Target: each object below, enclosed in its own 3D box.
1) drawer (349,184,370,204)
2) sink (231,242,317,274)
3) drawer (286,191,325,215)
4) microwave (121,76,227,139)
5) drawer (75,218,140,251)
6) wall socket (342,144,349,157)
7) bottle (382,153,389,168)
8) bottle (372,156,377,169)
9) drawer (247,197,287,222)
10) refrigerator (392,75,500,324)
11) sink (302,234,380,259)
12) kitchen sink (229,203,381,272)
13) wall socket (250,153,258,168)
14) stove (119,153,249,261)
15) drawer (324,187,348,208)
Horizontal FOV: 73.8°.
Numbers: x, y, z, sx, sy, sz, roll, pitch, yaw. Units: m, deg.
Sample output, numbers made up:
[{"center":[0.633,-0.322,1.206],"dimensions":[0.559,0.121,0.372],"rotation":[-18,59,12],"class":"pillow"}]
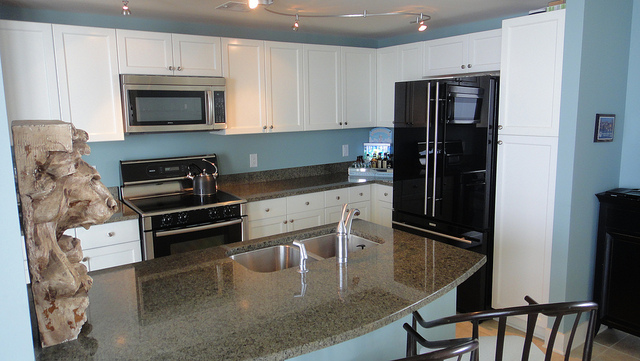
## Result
[{"center":[0.498,0.162,5.342],"dimensions":[0.379,0.201,0.208],"rotation":[-5,9,-37],"class":"drawer"},{"center":[-0.366,0.621,3.343],"dimensions":[0.387,0.208,0.373],"rotation":[-6,11,-38],"class":"sink"},{"center":[-0.164,0.264,4.995],"dimensions":[0.311,0.124,0.315],"rotation":[-6,9,-35],"class":"drawer"},{"center":[-1.716,-0.801,4.699],"dimensions":[1.149,0.574,0.667],"rotation":[-8,10,-40],"class":"microwave"},{"center":[-2.002,0.513,4.073],"dimensions":[0.550,0.235,0.048],"rotation":[-8,15,-27],"class":"drawer"},{"center":[0.366,-0.421,5.954],"dimensions":[0.107,0.162,0.012],"rotation":[-11,16,-31],"class":"wall socket"},{"center":[0.893,-0.268,5.760],"dimensions":[0.083,0.166,0.259],"rotation":[-1,12,8],"class":"bottle"},{"center":[0.740,-0.221,5.710],"dimensions":[0.059,0.108,0.101],"rotation":[-1,13,7],"class":"bottle"},{"center":[-0.600,0.258,4.768],"dimensions":[0.418,0.167,0.281],"rotation":[-7,9,-38],"class":"drawer"},{"center":[1.320,0.150,4.522],"dimensions":[1.043,2.415,0.637],"rotation":[2,15,20],"class":"refrigerator"},{"center":[0.140,0.563,3.576],"dimensions":[0.344,0.182,0.341],"rotation":[-10,16,-37],"class":"sink"},{"center":[-0.078,0.446,3.305],"dimensions":[1.099,0.577,0.531],"rotation":[-9,14,-29],"class":"kitchen sink"},{"center":[-0.818,-0.244,5.316],"dimensions":[0.112,0.167,0.019],"rotation":[-13,17,-39],"class":"wall socket"},{"center":[-1.452,0.290,4.381],"dimensions":[1.135,1.269,0.806],"rotation":[-6,10,-34],"class":"stove"},{"center":[0.200,0.204,5.191],"dimensions":[0.406,0.203,0.241],"rotation":[-6,10,-40],"class":"drawer"}]
